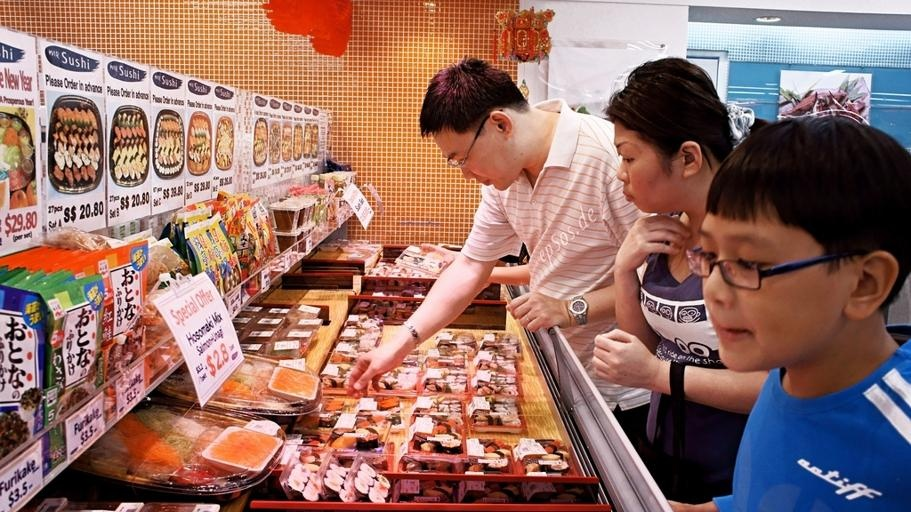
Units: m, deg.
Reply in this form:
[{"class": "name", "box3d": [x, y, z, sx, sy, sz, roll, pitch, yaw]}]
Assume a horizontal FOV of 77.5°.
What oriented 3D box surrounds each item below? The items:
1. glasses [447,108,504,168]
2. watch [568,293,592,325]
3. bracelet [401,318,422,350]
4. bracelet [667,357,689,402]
[{"class": "glasses", "box3d": [0.063, -0.481, 2.378, 0.060, 0.193, 0.191, 35, -8, -2]}, {"class": "watch", "box3d": [0.520, 0.228, 2.439, 0.092, 0.109, 0.112, -15, -18, 13]}, {"class": "bracelet", "box3d": [-0.194, 0.347, 2.563, 0.064, 0.114, 0.093, -28, 15, -3]}, {"class": "bracelet", "box3d": [0.736, 0.409, 1.887, 0.041, 0.102, 0.080, 1, -1, 23]}]
